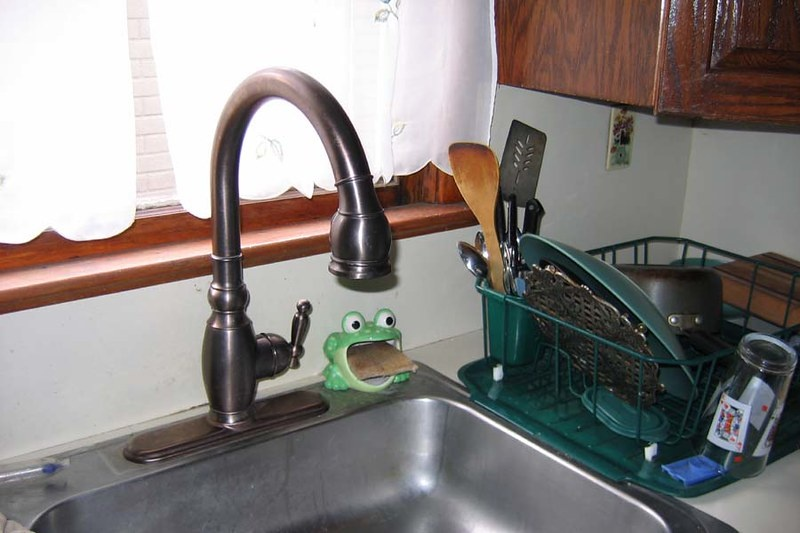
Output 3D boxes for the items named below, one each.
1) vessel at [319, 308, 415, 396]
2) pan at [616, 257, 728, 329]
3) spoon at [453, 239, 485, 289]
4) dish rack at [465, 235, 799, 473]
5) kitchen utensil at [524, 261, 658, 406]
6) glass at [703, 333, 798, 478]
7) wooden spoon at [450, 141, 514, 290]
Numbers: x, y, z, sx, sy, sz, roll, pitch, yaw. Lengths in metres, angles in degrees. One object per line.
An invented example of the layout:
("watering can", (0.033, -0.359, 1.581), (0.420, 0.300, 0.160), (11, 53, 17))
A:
("vessel", (-0.061, 0.148, 1.152), (0.171, 0.108, 0.171), (-7, 30, -16))
("pan", (0.583, 0.062, 1.280), (0.274, 0.105, 0.278), (0, 10, 22))
("spoon", (0.157, -0.011, 1.273), (0.124, 0.036, 0.019), (54, 35, 9))
("dish rack", (0.547, 0.183, 1.221), (0.597, 0.206, 0.455), (-10, 18, -33))
("kitchen utensil", (0.366, 0.126, 1.099), (0.015, 0.192, 0.237), (-24, 38, -23))
("glass", (0.593, 0.240, 0.986), (0.090, 0.223, 0.126), (18, 30, 38))
("wooden spoon", (0.166, -0.143, 1.211), (0.074, 0.414, 0.043), (-7, 4, 5))
